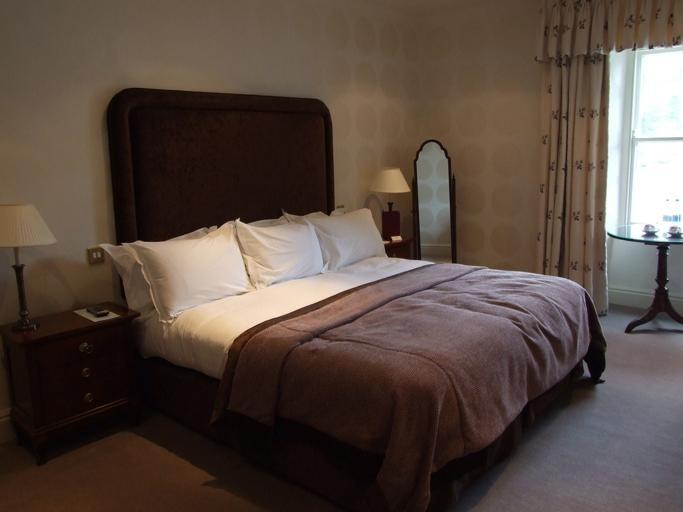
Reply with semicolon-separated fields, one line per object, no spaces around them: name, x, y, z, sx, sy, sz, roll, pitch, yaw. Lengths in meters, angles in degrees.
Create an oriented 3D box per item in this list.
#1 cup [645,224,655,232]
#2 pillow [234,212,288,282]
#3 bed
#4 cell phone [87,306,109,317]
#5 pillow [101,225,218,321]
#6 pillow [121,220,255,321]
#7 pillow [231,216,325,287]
cup;2.835;-0.274;4.722;0.053;0.032;0.078;0;10;7
pillow;-0.693;-0.062;4.004;0.098;0.483;0.431;-9;-4;44
bed;0.123;-0.090;3.723;2.814;2.399;2.566;7;15;42
cell phone;-1.643;0.350;3.463;0.075;0.036;0.135;-9;13;-41
pillow;-1.453;0.126;3.584;0.141;0.555;0.469;1;11;43
pillow;-1.048;0.097;3.680;0.735;0.522;0.385;-11;14;-35
pillow;-0.518;-0.033;4.057;0.464;0.412;0.168;-8;-4;-45
